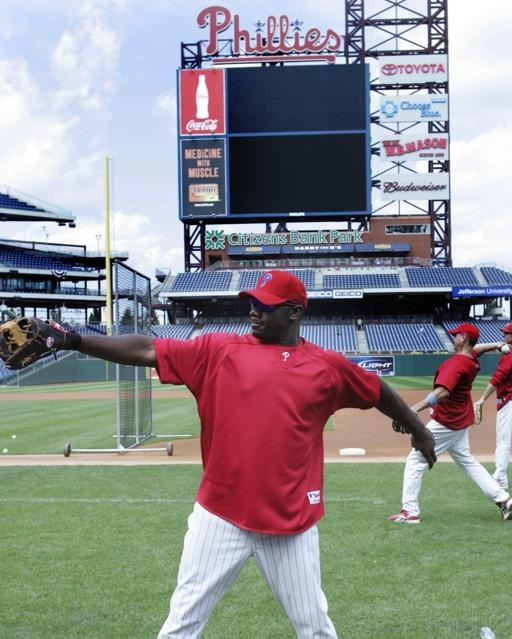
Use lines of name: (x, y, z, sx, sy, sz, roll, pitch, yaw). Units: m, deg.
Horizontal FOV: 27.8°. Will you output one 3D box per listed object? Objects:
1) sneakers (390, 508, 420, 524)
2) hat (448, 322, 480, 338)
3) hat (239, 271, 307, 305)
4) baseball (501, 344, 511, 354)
sneakers: (1.226, 1.608, 8.503, 0.259, 0.112, 0.098, 5, -8, 6)
hat: (1.757, 0.085, 8.738, 0.225, 0.117, 0.142, 7, -2, 13)
hat: (0.114, -0.166, 5.786, 0.302, 0.146, 0.202, 4, -2, -17)
baseball: (2.240, 0.257, 9.257, 0.060, 0.057, 0.076, -17, -26, 3)
